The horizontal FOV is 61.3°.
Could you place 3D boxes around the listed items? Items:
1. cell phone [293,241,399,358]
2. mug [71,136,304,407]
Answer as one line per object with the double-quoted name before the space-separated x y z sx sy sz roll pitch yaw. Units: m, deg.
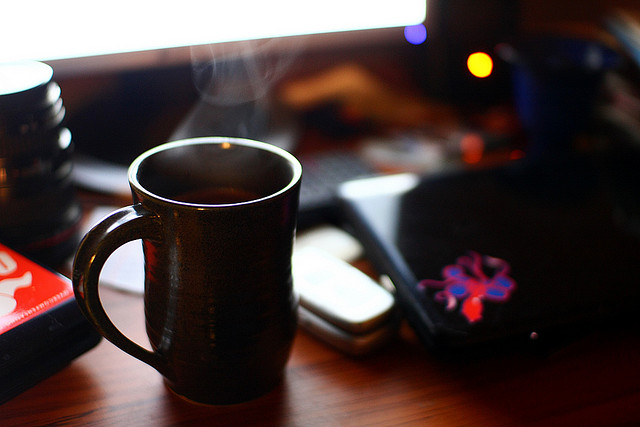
"cell phone" 0.020 0.087 0.545 0.081 0.030 0.130 -24 32 -33
"mug" -0.088 0.052 0.460 0.148 0.183 0.173 18 46 16
